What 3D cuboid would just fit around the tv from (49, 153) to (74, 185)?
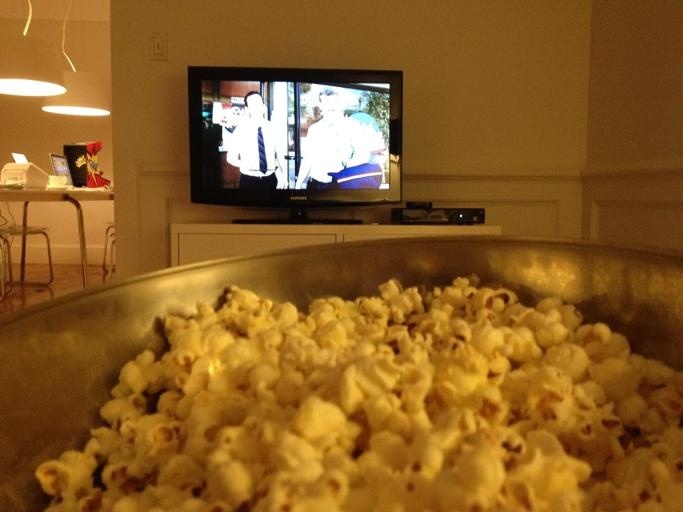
[{"bbox_3d":[-2.365,-0.720,4.220,0.118,0.245,0.369,-2,7,-21],"label":"tv"}]
